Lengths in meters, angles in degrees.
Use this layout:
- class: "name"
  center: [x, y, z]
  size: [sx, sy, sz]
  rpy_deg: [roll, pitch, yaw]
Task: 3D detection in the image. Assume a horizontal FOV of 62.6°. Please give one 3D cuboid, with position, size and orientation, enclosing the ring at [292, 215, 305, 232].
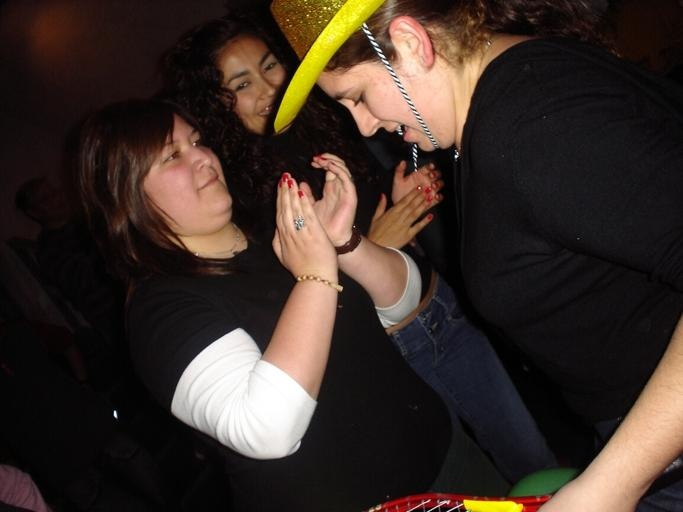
- class: "ring"
  center: [-0.174, -0.128, 2.260]
  size: [0.060, 0.064, 0.015]
  rpy_deg: [1, -2, 7]

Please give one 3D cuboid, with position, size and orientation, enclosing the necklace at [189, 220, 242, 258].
- class: "necklace"
  center: [-0.545, -0.063, 2.431]
  size: [0.190, 0.120, 0.156]
  rpy_deg: [-19, 18, 36]
